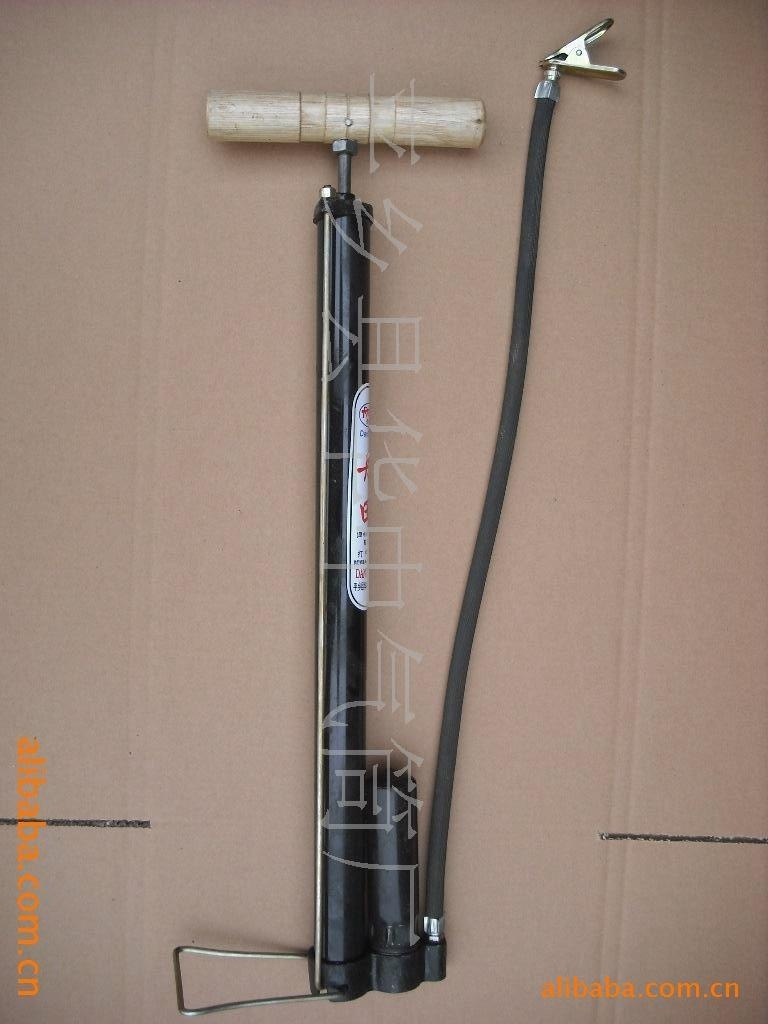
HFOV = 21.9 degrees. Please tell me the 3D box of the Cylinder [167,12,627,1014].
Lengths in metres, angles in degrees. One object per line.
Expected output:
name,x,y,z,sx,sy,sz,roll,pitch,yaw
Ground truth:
Cylinder,0.018,0.012,2.572,0.538,1.062,0.686,3,-30,-8
